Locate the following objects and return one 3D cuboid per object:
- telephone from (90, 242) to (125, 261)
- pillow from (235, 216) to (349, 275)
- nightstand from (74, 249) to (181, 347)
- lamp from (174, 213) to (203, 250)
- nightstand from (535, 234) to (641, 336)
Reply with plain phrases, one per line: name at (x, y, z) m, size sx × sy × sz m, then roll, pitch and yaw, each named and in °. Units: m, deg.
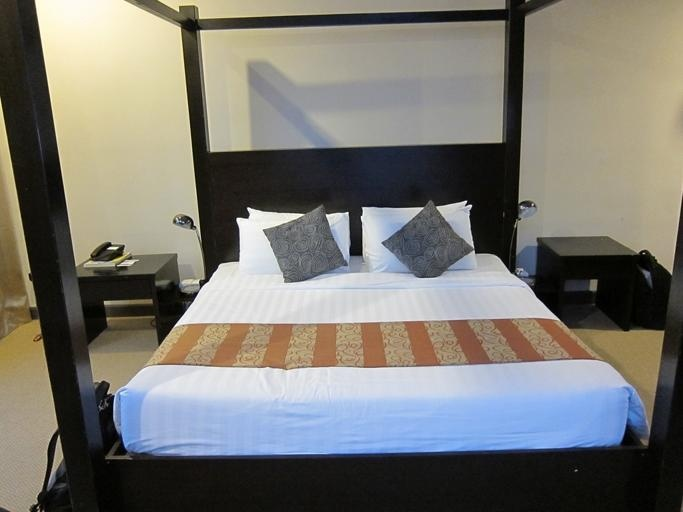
telephone at (-1.987, -0.023, 4.508) m, size 0.167 × 0.079 × 0.233 m, roll -2°, pitch 13°, yaw -1°
pillow at (-0.399, -0.097, 4.221) m, size 0.915 × 0.586 × 0.278 m, roll -2°, pitch -12°, yaw -7°
nightstand at (-1.836, 0.223, 4.504) m, size 0.903 × 0.879 × 0.698 m, roll -2°, pitch 19°, yaw -6°
lamp at (-1.338, -0.224, 4.580) m, size 0.250 × 0.380 × 0.168 m, roll -22°, pitch 31°, yaw -40°
nightstand at (2.079, 0.226, 4.584) m, size 0.672 × 0.649 × 0.717 m, roll -2°, pitch 15°, yaw -1°
